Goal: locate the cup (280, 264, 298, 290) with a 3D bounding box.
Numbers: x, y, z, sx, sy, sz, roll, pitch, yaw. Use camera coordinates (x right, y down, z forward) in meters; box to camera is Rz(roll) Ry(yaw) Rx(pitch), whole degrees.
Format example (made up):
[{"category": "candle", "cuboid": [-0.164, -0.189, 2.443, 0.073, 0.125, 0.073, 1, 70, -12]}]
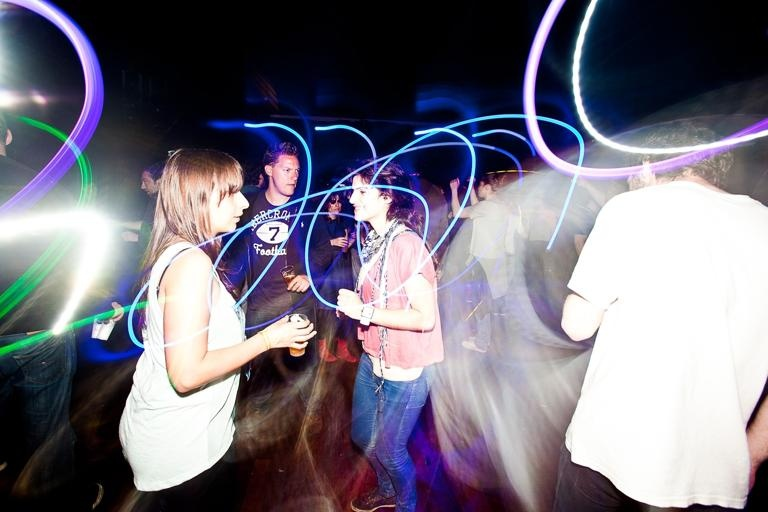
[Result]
[{"category": "cup", "cuboid": [-1.016, 0.224, 5.201, 0.140, 0.236, 0.146, -14, 31, 9]}]
